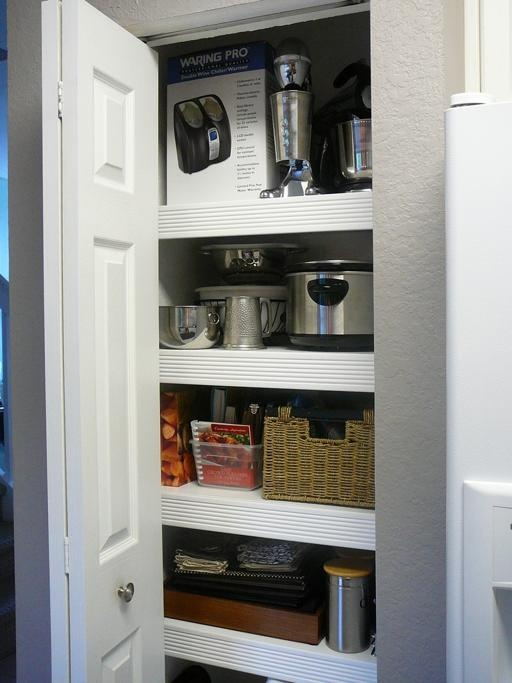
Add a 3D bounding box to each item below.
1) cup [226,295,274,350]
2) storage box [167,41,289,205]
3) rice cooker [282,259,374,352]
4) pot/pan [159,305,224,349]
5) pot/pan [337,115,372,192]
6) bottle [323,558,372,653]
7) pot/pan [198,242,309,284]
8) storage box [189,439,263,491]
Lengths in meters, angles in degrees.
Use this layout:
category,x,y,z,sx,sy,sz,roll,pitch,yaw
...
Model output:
category,x,y,z,sx,sy,sz,roll,pitch,yaw
cup,-0.016,-0.044,1.372,0.076,0.115,0.090,2,10,16
storage box,-0.086,-0.484,1.352,0.227,0.381,0.134,1,9,14
rice cooker,0.142,-0.075,1.198,0.165,0.184,0.142,3,8,22
pot/pan,-0.148,-0.036,1.406,0.103,0.101,0.126,2,10,15
pot/pan,0.191,-0.370,1.183,0.055,0.129,0.092,0,12,6
bottle,0.195,0.543,1.274,0.087,0.167,0.098,3,4,19
pot/pan,-0.004,-0.191,1.363,0.166,0.102,0.204,3,11,23
storage box,-0.066,0.273,1.357,0.132,0.088,0.100,-1,-6,14
